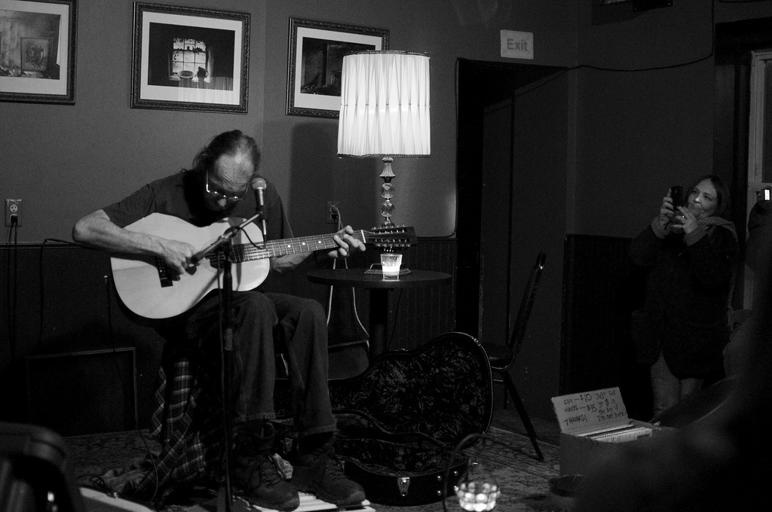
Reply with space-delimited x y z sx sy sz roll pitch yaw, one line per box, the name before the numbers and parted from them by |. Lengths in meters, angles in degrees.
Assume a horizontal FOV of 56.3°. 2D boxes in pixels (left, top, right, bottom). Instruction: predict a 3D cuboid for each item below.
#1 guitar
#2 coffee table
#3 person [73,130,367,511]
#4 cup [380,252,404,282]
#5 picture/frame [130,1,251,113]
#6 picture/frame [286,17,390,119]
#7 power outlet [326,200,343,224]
guitar | -0.653 0.020 3.532 1.278 0.468 0.150 -11 -11 -26
coffee table | -0.031 0.310 3.803 0.531 0.611 0.564 0 1 -3
person | -0.695 0.274 3.320 1.252 1.726 0.752 2 5 -2
cup | 0.026 0.052 3.809 0.124 0.143 0.127 0 -1 0
picture/frame | -1.158 -1.191 4.205 0.654 0.584 0.049 2 2 -19
picture/frame | -0.308 -1.101 4.227 0.721 0.702 0.053 -3 9 -25
power outlet | -0.317 -0.270 4.488 0.115 0.225 0.117 0 4 -8
